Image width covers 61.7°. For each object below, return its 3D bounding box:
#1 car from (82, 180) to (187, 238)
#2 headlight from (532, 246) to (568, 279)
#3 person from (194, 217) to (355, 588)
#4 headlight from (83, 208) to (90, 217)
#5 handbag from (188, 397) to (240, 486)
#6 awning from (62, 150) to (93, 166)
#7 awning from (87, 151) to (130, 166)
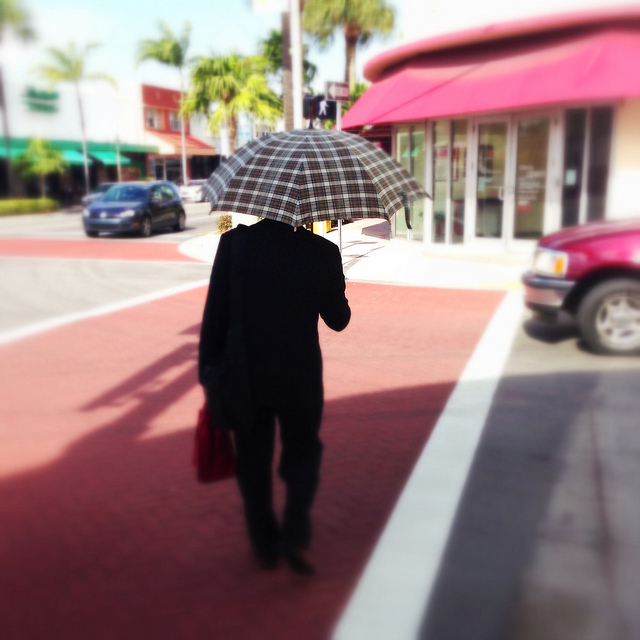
[{"bbox_3d":[-6.881,-4.182,20.220,1.906,2.013,3.746,3,11,25],"label":"car"},{"bbox_3d":[2.594,-0.650,6.069,0.154,0.325,0.500,-3,10,-11],"label":"headlight"},{"bbox_3d":[-0.189,0.372,2.335,0.662,1.604,0.348,-2,8,-10],"label":"person"},{"bbox_3d":[-8.370,-3.824,19.118,0.174,0.266,0.535,-7,12,-31],"label":"headlight"},{"bbox_3d":[-0.518,0.537,2.636,0.197,0.456,0.181,-3,20,-7],"label":"handbag"},{"bbox_3d":[-18.495,-12.445,40.718,1.578,1.114,3.353,-2,11,-6],"label":"awning"},{"bbox_3d":[-17.537,-13.278,43.642,1.910,0.589,1.289,2,33,-49],"label":"awning"}]
